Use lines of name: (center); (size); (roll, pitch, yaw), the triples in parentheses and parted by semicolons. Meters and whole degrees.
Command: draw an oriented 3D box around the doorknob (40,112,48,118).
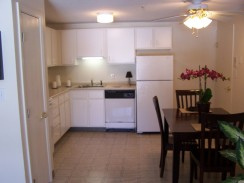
doorknob: (-1.117, 0.337, 2.977); (0.057, 0.077, 0.030); (6, 29, -12)

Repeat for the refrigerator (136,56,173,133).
refrigerator: (0.742, 0.051, 5.450); (0.877, 1.834, 0.912); (0, 9, 1)

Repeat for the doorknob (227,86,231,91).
doorknob: (2.452, -0.052, 4.822); (0.069, 0.047, 0.054); (0, -11, -8)

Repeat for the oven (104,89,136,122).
oven: (-0.158, 0.500, 5.618); (0.849, 0.881, 0.621); (1, -6, -20)

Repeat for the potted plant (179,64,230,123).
potted plant: (1.270, 0.110, 3.366); (0.919, 0.963, 0.757); (-2, -2, 10)
